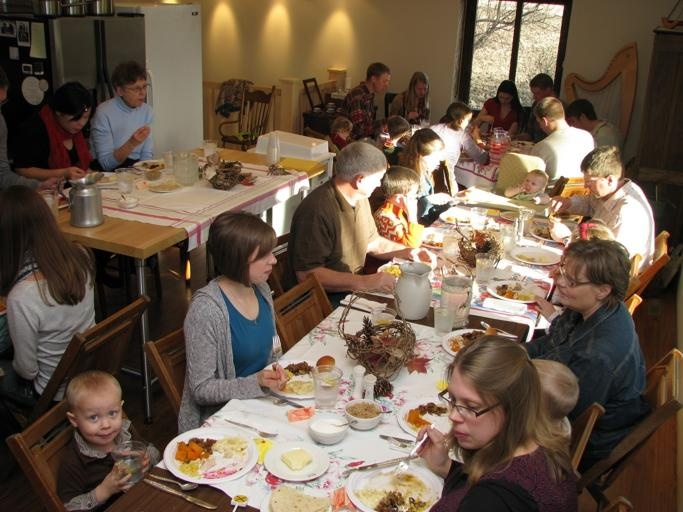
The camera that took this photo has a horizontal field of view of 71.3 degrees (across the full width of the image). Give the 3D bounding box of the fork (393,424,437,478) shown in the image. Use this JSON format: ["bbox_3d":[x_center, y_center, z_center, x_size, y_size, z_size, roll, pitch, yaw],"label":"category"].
[{"bbox_3d":[0.239,0.645,1.561,0.028,0.163,0.028,38,0,-10],"label":"fork"}]

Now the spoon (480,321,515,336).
[{"bbox_3d":[0.747,0.362,2.320,0.165,0.018,0.049,25,35,26],"label":"spoon"}]

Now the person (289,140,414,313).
[{"bbox_3d":[0.072,-0.166,3.067,0.847,1.139,0.752,10,40,11],"label":"person"}]

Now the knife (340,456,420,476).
[{"bbox_3d":[0.121,0.673,1.524,0.230,0.027,0.026,-5,61,-6],"label":"knife"}]

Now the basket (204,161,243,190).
[{"bbox_3d":[-0.953,-0.625,3.764,0.286,0.129,0.260,10,24,20],"label":"basket"}]

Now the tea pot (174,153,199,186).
[{"bbox_3d":[-1.232,-0.655,3.822,0.202,0.217,0.198,1,5,0],"label":"tea pot"}]

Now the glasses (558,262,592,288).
[{"bbox_3d":[0.992,0.086,2.037,0.101,0.029,0.096,9,23,-14],"label":"glasses"}]

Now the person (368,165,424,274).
[{"bbox_3d":[0.465,-0.303,3.701,0.394,0.775,0.539,2,39,15],"label":"person"}]

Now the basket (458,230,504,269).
[{"bbox_3d":[0.865,-0.053,2.966,0.230,0.184,0.262,1,11,9],"label":"basket"}]

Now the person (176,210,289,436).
[{"bbox_3d":[-0.440,0.295,1.996,0.442,0.910,0.526,3,18,-7],"label":"person"}]

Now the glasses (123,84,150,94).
[{"bbox_3d":[-1.795,-1.420,4.117,0.140,0.055,0.114,1,18,33],"label":"glasses"}]

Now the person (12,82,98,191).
[{"bbox_3d":[-2.188,-0.968,3.776,0.538,0.709,0.729,21,21,3],"label":"person"}]

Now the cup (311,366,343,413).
[{"bbox_3d":[-0.056,0.480,1.768,0.139,0.150,0.134,0,16,0],"label":"cup"}]

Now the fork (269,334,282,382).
[{"bbox_3d":[-0.286,0.416,2.061,0.042,0.269,0.036,-1,-10,4],"label":"fork"}]

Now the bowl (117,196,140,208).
[{"bbox_3d":[-1.480,-0.366,3.276,0.102,0.034,0.102,3,22,-1],"label":"bowl"}]

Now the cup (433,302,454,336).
[{"bbox_3d":[0.481,0.304,2.317,0.110,0.128,0.129,3,13,9],"label":"cup"}]

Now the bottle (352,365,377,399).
[{"bbox_3d":[0.087,0.489,1.835,0.087,0.131,0.085,1,19,0],"label":"bottle"}]

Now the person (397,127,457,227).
[{"bbox_3d":[0.755,-0.662,4.187,0.619,1.143,0.490,-2,49,11],"label":"person"}]

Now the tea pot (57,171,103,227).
[{"bbox_3d":[-1.591,-0.343,2.962,0.209,0.292,0.226,8,25,-4],"label":"tea pot"}]

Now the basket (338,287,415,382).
[{"bbox_3d":[0.119,0.291,1.950,0.304,0.342,0.271,-14,13,-16],"label":"basket"}]
